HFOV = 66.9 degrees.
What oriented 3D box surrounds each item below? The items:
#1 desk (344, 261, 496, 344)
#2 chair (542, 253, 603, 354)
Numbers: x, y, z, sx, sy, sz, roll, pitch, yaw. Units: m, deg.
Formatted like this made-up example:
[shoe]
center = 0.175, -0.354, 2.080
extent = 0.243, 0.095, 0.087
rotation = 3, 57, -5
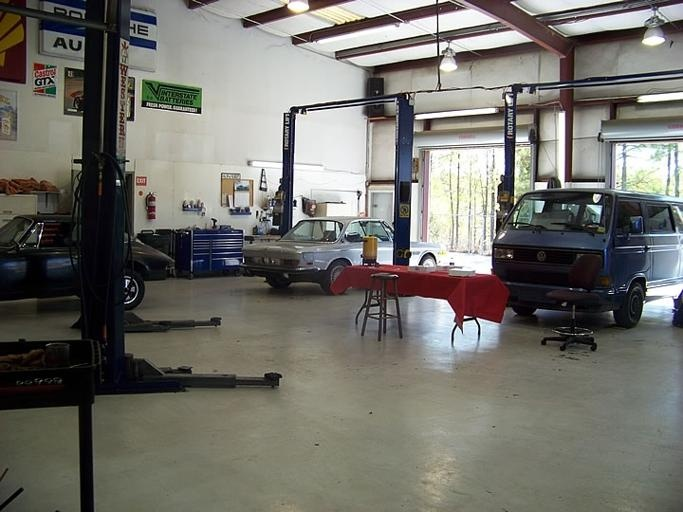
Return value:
[desk]
center = 1.149, 0.613, 7.218
extent = 2.063, 0.967, 0.859
rotation = 6, 9, 37
[chair]
center = 3.109, 0.583, 6.950
extent = 0.665, 1.180, 1.156
rotation = 4, 7, 26
